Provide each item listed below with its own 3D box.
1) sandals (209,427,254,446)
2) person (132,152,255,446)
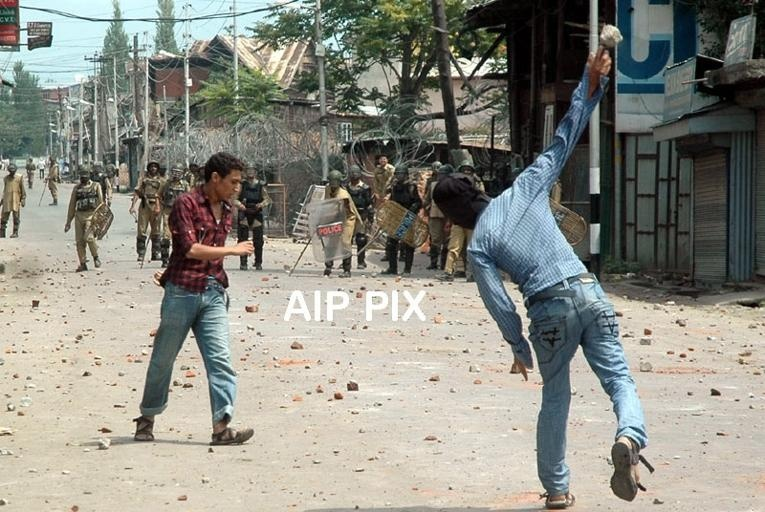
[{"bbox_3d":[-1.801,2.147,16.255,0.459,0.168,0.222,-6,0,-7],"label":"sandals"},{"bbox_3d":[-2.238,0.489,16.251,1.395,3.373,1.165,-2,15,-6],"label":"person"}]
